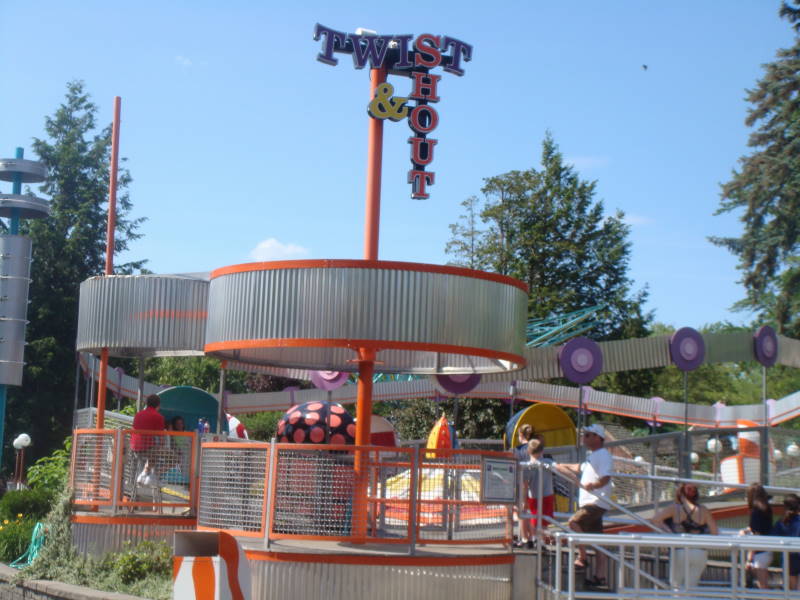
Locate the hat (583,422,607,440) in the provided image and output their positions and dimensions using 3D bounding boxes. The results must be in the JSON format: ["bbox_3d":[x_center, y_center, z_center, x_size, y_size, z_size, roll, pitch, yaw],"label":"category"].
[{"bbox_3d":[3.610,2.434,21.910,0.385,0.231,0.269,28,-3,-11],"label":"hat"}]

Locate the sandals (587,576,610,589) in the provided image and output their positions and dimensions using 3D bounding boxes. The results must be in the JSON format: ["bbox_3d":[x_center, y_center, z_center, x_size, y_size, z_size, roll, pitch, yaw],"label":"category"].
[{"bbox_3d":[3.576,5.109,21.535,0.419,0.205,0.179,3,5,17],"label":"sandals"}]

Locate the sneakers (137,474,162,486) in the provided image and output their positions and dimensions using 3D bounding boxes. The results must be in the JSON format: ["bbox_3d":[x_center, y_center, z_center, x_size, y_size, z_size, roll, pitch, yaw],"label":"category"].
[{"bbox_3d":[-5.172,3.681,24.422,0.446,0.236,0.134,-3,-10,17],"label":"sneakers"}]

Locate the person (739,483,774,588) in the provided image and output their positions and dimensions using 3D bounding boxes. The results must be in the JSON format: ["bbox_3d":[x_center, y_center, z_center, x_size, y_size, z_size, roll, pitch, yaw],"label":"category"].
[{"bbox_3d":[6.861,4.492,22.765,0.536,1.937,1.238,-2,-10,17],"label":"person"}]

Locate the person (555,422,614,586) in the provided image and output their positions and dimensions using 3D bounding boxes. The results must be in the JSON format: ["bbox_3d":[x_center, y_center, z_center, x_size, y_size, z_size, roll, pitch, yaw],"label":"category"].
[{"bbox_3d":[3.514,3.997,22.660,0.993,3.114,1.443,6,-31,0],"label":"person"}]
